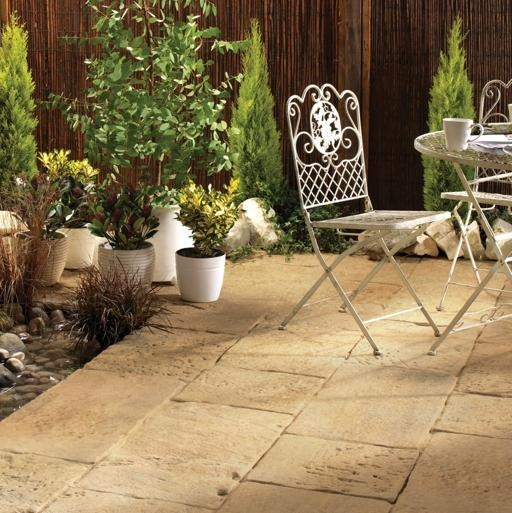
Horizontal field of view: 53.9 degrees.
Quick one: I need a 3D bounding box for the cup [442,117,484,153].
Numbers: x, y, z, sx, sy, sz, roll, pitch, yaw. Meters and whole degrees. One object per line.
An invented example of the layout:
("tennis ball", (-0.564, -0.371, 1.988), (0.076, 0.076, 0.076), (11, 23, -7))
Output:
("cup", (0.975, -0.558, 2.397), (0.233, 0.138, 0.166), (2, 5, 11))
